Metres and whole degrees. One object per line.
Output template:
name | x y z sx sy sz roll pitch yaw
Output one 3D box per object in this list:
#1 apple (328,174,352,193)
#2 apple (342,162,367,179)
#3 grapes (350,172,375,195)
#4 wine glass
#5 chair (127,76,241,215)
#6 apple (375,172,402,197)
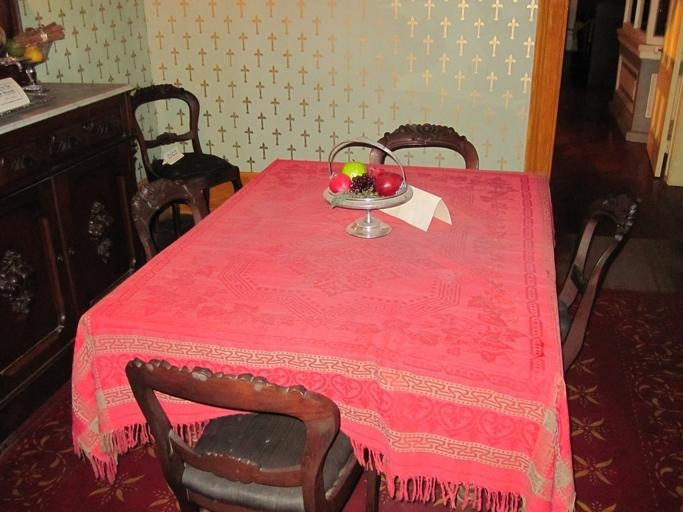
apple | 0.006 -0.304 2.112 0.097 0.090 0.083 4 28 38
apple | 0.058 -0.381 2.140 0.093 0.101 0.094 2 10 8
grapes | 0.095 -0.302 2.003 0.067 0.049 0.089 6 19 -7
wine glass | 0.134 -0.186 2.158 0.316 0.166 0.308 -8 14 -28
chair | -1.279 -0.819 4.012 0.718 1.130 0.626 17 30 36
apple | 0.197 -0.301 2.020 0.093 0.102 0.097 2 15 8
